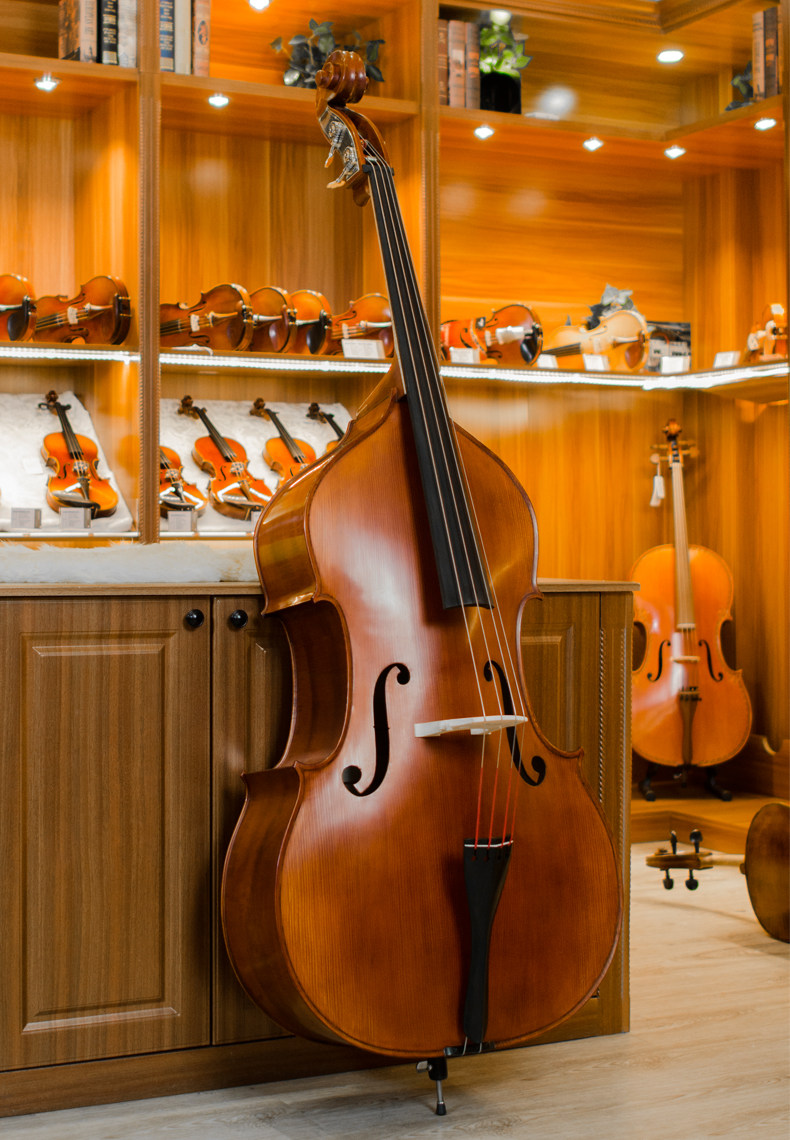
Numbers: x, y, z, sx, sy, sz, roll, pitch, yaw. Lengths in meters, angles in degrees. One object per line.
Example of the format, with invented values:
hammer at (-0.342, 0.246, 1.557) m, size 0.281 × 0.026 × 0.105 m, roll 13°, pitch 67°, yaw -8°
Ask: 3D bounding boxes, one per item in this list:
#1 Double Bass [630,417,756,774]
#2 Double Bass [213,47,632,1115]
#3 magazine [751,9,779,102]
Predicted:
Double Bass at (1.054, 0.082, 4.146) m, size 0.391 × 1.288 × 0.543 m, roll 0°, pitch -4°, yaw 14°
Double Bass at (0.054, -0.100, 1.643) m, size 0.551 × 1.488 × 0.433 m, roll 2°, pitch -3°, yaw -12°
magazine at (1.241, -1.714, 3.891) m, size 0.085 × 0.289 × 0.176 m, roll 0°, pitch -4°, yaw 17°
